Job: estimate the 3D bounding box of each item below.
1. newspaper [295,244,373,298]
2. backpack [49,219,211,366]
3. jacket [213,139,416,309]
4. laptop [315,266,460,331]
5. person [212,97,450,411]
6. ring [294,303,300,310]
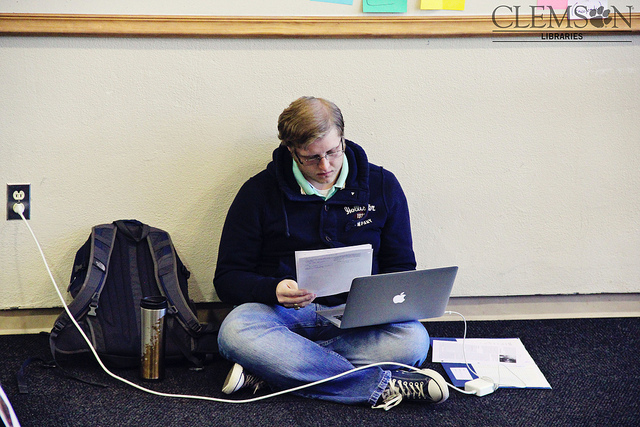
[{"bbox_3d":[0.055,0.222,2.037,0.295,0.183,0.026,-3,15,-19],"label":"newspaper"},{"bbox_3d":[-0.909,0.377,2.451,0.728,0.641,0.359,9,-28,-38],"label":"backpack"},{"bbox_3d":[0.003,0.054,2.333,0.912,0.646,0.537,-1,9,-10],"label":"jacket"},{"bbox_3d":[0.249,0.321,2.170,0.501,0.215,0.392,-4,7,-33],"label":"laptop"},{"bbox_3d":[0.023,0.137,2.117,0.867,1.157,0.630,-2,14,-11],"label":"person"},{"bbox_3d":[-0.091,0.365,2.085,0.022,0.027,0.028,-4,-9,1],"label":"ring"}]
